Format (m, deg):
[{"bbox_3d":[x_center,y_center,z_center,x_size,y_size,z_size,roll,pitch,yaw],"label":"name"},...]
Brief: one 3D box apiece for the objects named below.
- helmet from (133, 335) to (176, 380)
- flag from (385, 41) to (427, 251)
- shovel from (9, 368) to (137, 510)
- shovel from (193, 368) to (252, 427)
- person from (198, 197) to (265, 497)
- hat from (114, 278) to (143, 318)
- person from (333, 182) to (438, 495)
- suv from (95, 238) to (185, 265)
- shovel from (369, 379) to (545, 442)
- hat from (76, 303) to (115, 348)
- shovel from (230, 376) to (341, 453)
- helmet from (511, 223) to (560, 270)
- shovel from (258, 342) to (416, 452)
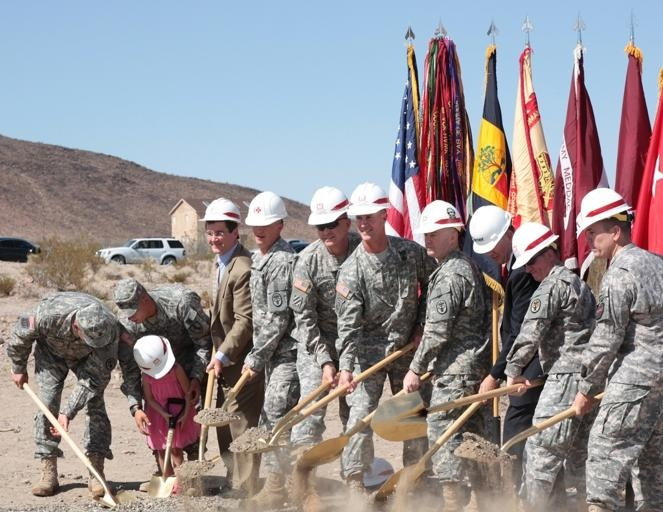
[{"bbox_3d":[-2.060,1.129,12.273,0.455,0.531,0.412,-1,1,44],"label":"helmet"},{"bbox_3d":[1.063,-1.248,14.289,0.640,3.520,0.660,-3,6,-22],"label":"flag"},{"bbox_3d":[-3.089,2.096,12.241,2.075,0.254,0.719,37,-16,29],"label":"shovel"},{"bbox_3d":[-1.207,1.626,11.828,0.485,0.709,0.709,4,2,43],"label":"shovel"},{"bbox_3d":[-1.179,0.898,12.410,0.760,3.351,1.512,1,0,-36],"label":"person"},{"bbox_3d":[-2.348,0.484,12.220,0.334,0.443,0.289,-1,-2,-13],"label":"hat"},{"bbox_3d":[0.489,0.922,11.825,1.079,3.063,1.326,0,1,25],"label":"person"},{"bbox_3d":[-6.922,-0.207,39.716,2.035,1.154,5.182,-2,-3,12],"label":"suv"},{"bbox_3d":[1.346,1.545,11.060,1.854,0.461,0.246,-8,12,-16],"label":"shovel"},{"bbox_3d":[-2.709,0.800,12.147,0.443,0.452,0.204,0,-2,-18],"label":"hat"},{"bbox_3d":[-0.447,1.719,11.416,1.200,0.211,0.384,-22,16,-14],"label":"shovel"},{"bbox_3d":[2.130,-0.164,11.198,0.479,0.306,0.366,-40,6,-12],"label":"helmet"},{"bbox_3d":[0.048,1.536,11.466,1.082,1.282,1.285,-3,5,-33],"label":"shovel"}]
